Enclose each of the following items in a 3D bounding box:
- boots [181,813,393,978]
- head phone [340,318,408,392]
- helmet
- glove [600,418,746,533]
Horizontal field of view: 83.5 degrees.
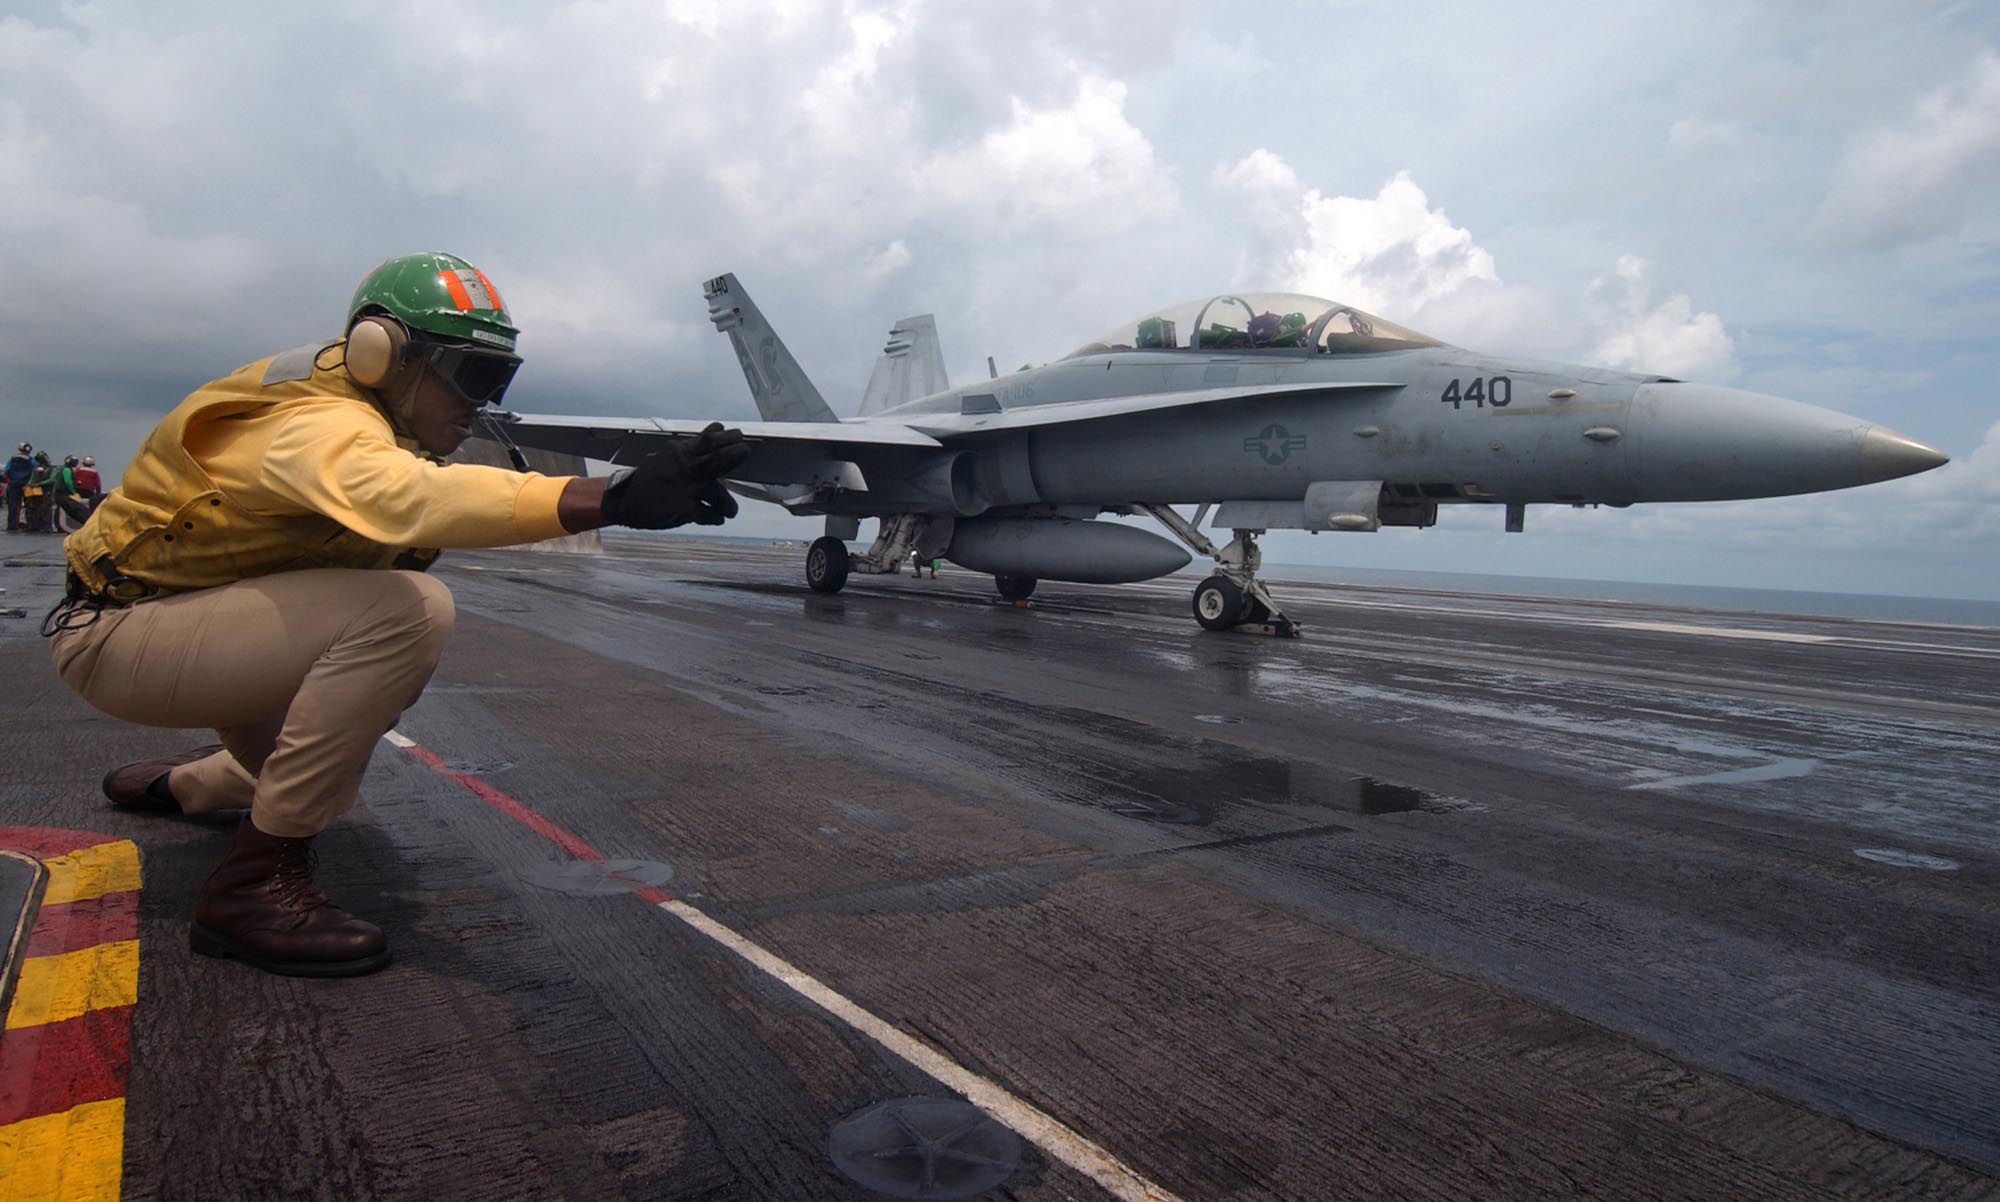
[{"bbox_3d":[-1.868,2.230,2.996,0.584,0.593,0.203,3,4,19],"label":"boots"},{"bbox_3d":[-1.674,-0.159,3.007,0.155,0.324,0.128,4,4,23],"label":"head phone"},{"bbox_3d":[-1.620,-0.306,3.266,0.523,0.602,0.471,12,7,10],"label":"helmet"},{"bbox_3d":[-0.792,0.352,2.741,0.320,0.426,0.242,2,3,-21],"label":"glove"}]
